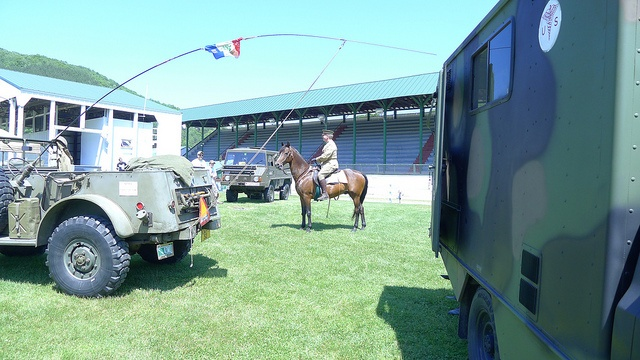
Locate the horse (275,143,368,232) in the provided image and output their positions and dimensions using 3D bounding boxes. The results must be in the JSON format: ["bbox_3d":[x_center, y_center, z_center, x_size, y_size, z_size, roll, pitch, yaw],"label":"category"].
[{"bbox_3d":[0.086,0.275,13.186,3.089,2.357,0.778,4,0,-19],"label":"horse"}]

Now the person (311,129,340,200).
[{"bbox_3d":[0.161,-0.413,13.079,0.677,2.068,1.159,3,9,1],"label":"person"}]

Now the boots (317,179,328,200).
[{"bbox_3d":[0.082,0.270,12.777,0.238,0.578,0.316,8,11,32],"label":"boots"}]

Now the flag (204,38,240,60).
[{"bbox_3d":[-1.757,-2.409,8.133,0.636,0.458,1.351,0,10,-14],"label":"flag"}]

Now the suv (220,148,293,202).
[{"bbox_3d":[-2.846,-0.271,21.266,2.320,2.360,4.306,2,1,16],"label":"suv"}]
